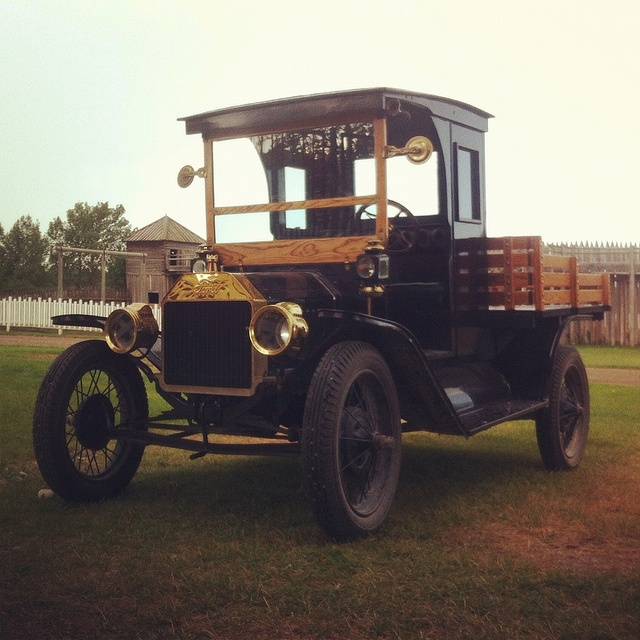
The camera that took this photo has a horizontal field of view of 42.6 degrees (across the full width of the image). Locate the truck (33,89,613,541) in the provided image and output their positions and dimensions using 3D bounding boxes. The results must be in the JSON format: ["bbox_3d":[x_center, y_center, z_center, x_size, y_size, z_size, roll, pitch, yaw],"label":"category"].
[{"bbox_3d":[0.632,-0.110,6.586,2.097,2.946,3.941,-2,0,44],"label":"truck"}]
